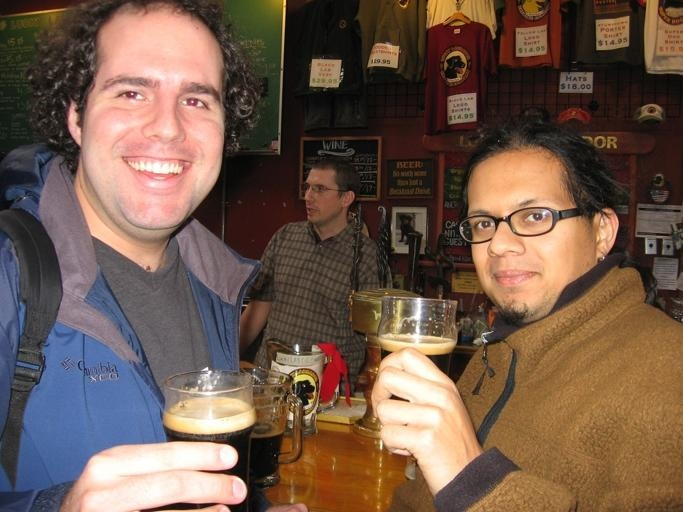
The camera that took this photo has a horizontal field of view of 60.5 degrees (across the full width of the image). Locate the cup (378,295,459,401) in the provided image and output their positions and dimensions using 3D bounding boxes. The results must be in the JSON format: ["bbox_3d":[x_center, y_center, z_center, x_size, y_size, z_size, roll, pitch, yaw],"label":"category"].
[{"bbox_3d":[0.206,0.291,1.943,0.253,0.401,0.258,2,-6,0],"label":"cup"}]

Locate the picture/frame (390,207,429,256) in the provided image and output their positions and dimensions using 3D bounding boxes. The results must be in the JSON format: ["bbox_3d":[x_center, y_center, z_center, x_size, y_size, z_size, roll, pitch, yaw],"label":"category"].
[{"bbox_3d":[0.573,-0.212,4.879,0.407,0.568,0.023,0,-4,5],"label":"picture/frame"}]

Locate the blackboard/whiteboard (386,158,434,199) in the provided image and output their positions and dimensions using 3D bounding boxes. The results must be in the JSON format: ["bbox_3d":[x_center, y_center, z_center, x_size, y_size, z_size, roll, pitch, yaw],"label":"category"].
[{"bbox_3d":[0.612,-0.683,5.130,0.334,0.292,0.047,1,-4,5],"label":"blackboard/whiteboard"}]

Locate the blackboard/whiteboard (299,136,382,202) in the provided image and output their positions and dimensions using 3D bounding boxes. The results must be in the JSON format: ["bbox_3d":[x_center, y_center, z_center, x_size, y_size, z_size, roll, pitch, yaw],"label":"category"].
[{"bbox_3d":[0.026,-0.745,4.965,0.614,0.542,0.030,1,-2,11],"label":"blackboard/whiteboard"}]

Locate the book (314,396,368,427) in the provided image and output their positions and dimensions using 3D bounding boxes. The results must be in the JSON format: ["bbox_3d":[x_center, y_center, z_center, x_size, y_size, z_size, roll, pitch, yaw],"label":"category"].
[{"bbox_3d":[-0.009,0.627,2.386,0.128,0.026,0.142,1,4,31],"label":"book"}]
